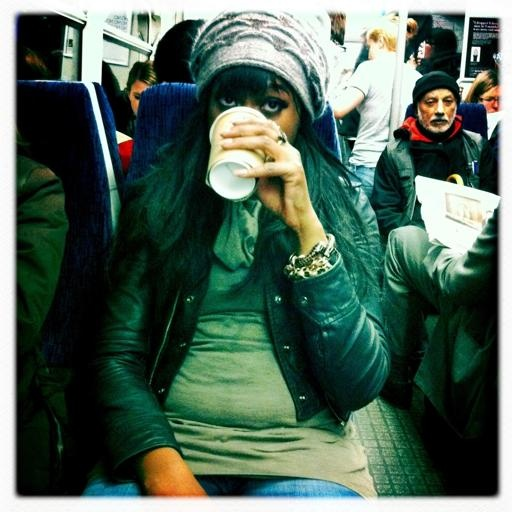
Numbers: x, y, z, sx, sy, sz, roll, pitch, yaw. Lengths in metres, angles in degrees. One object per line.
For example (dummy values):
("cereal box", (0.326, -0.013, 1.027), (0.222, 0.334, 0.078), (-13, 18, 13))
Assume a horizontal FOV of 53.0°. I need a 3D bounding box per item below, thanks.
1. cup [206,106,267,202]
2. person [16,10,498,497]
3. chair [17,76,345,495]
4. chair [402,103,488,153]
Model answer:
("cup", (-0.067, -0.206, 1.012), (0.107, 0.175, 0.175), (-5, 16, -40))
("person", (-0.206, 0.087, 1.168), (0.830, 0.942, 0.492), (5, 12, -1))
("chair", (-0.170, -0.003, 1.680), (1.048, 1.109, 0.843), (1, 3, -16))
("chair", (1.096, -0.678, 2.953), (0.269, 0.400, 0.320), (1, 1, 0))
